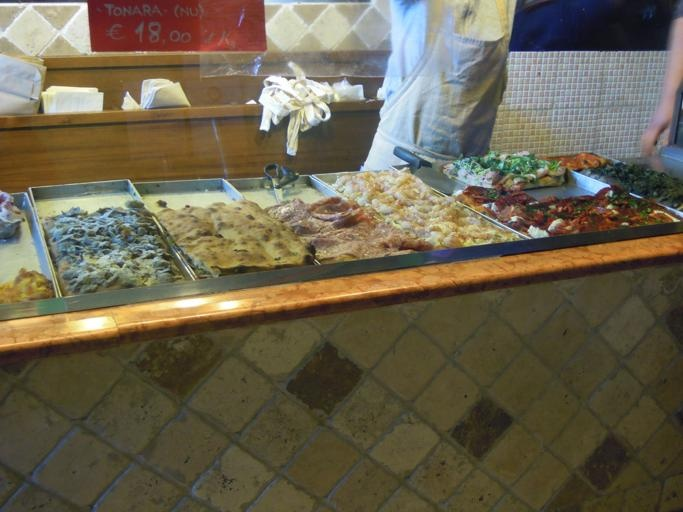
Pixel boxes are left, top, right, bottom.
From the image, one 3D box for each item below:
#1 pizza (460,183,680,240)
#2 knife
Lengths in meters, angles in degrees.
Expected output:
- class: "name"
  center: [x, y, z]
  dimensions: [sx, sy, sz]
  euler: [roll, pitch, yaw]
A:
- class: "pizza"
  center: [0.720, -0.142, 1.549]
  dimensions: [0.720, 0.067, 0.249]
  euler: [-2, 32, -7]
- class: "knife"
  center: [0.296, -0.243, 1.587]
  dimensions: [0.325, 0.048, 0.094]
  euler: [25, 66, -16]
